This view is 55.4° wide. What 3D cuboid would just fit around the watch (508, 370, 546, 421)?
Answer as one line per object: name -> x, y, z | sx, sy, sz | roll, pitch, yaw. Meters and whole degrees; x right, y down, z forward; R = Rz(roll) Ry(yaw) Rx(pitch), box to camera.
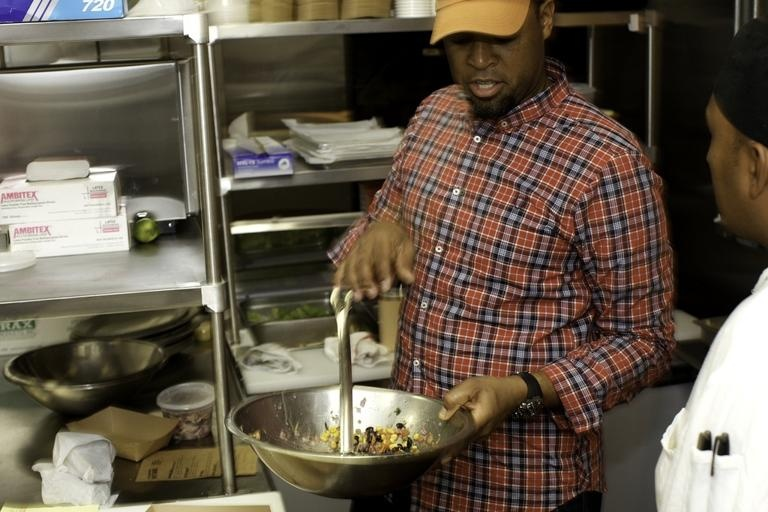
watch -> 0.365, 0.338, 1.839 | 0.075, 0.107, 0.106 | -4, 23, -29
